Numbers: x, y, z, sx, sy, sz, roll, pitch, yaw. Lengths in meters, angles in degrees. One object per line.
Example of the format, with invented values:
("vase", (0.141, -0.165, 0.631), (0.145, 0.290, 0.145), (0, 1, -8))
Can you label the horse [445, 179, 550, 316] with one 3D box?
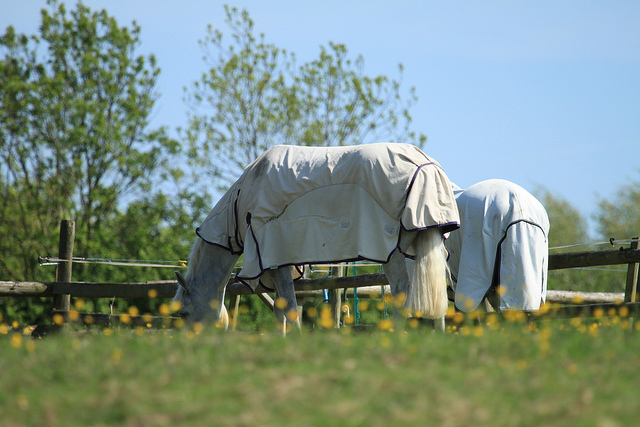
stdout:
("horse", (3.927, 0.812, 27.267), (1.994, 3.206, 5.681), (1, 1, -16))

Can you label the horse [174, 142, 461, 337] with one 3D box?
("horse", (-0.213, 1.144, 24.242), (6.122, 4.803, 2.072), (-5, -8, 14))
